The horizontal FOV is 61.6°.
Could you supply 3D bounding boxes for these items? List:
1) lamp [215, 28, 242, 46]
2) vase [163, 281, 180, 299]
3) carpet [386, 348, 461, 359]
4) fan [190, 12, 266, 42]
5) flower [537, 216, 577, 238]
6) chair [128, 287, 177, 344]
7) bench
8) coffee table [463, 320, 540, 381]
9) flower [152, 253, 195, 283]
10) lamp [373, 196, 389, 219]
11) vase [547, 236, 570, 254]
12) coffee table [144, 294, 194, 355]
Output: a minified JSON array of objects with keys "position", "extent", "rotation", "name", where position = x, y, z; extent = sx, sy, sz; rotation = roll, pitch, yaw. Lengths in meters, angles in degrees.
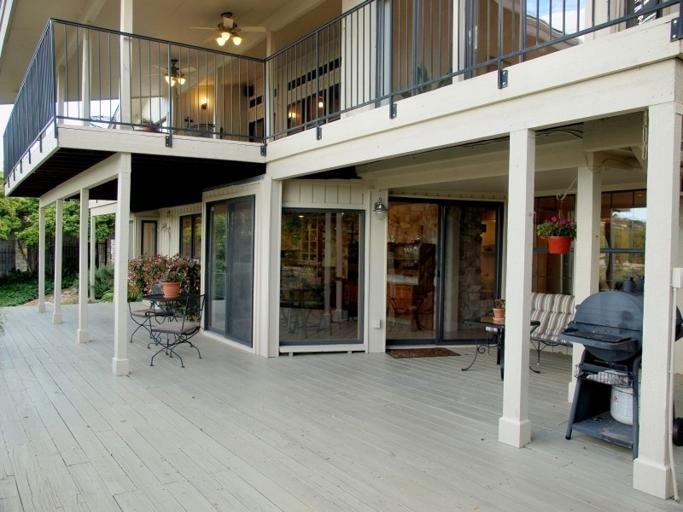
[{"position":[-1.759,-3.511,9.161],"extent":[0.401,0.260,0.418],"rotation":[2,-1,10],"name":"lamp"},{"position":[-2.822,0.566,9.423],"extent":[0.241,0.195,0.245],"rotation":[-3,-5,42],"name":"vase"},{"position":[1.250,1.517,8.880],"extent":[1.064,0.125,0.637],"rotation":[2,-1,-9],"name":"carpet"},{"position":[-1.898,-3.972,9.797],"extent":[0.696,0.314,0.750],"rotation":[-4,4,-9],"name":"fan"},{"position":[2.704,-0.364,7.188],"extent":[0.421,0.258,0.304],"rotation":[2,-1,26],"name":"flower"},{"position":[-3.351,1.093,10.242],"extent":[0.657,1.053,0.733],"rotation":[9,-3,-39],"name":"chair"},{"position":[3.062,0.955,8.629],"extent":[0.875,1.371,1.595],"rotation":[1,-4,-20],"name":"bench"},{"position":[2.161,1.282,8.525],"extent":[1.058,0.921,1.007],"rotation":[3,4,30],"name":"coffee table"},{"position":[-3.264,0.259,11.208],"extent":[0.616,0.477,0.644],"rotation":[3,2,32],"name":"flower"},{"position":[0.589,-0.743,8.768],"extent":[0.257,0.385,0.276],"rotation":[0,-4,5],"name":"lamp"},{"position":[2.702,-0.144,7.196],"extent":[0.213,0.161,0.236],"rotation":[1,-5,2],"name":"vase"},{"position":[-2.851,1.151,9.471],"extent":[0.786,1.361,0.717],"rotation":[4,-5,-34],"name":"coffee table"}]
